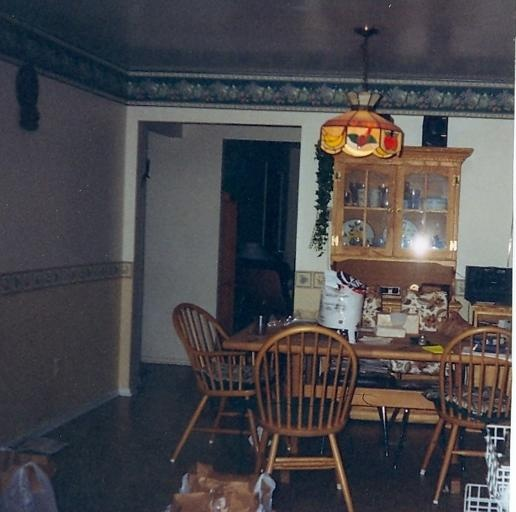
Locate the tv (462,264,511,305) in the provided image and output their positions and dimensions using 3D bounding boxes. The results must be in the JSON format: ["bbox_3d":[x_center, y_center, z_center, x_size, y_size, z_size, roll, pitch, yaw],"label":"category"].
[{"bbox_3d":[1.712,0.223,4.337,0.328,0.276,0.173,3,4,22],"label":"tv"}]

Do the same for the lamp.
[{"bbox_3d":[0.562,-0.886,3.136,0.396,0.696,0.446,3,3,5],"label":"lamp"}]

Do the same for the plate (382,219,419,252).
[{"bbox_3d":[1.057,-0.147,4.284,0.197,0.273,0.032,1,-4,6],"label":"plate"}]
